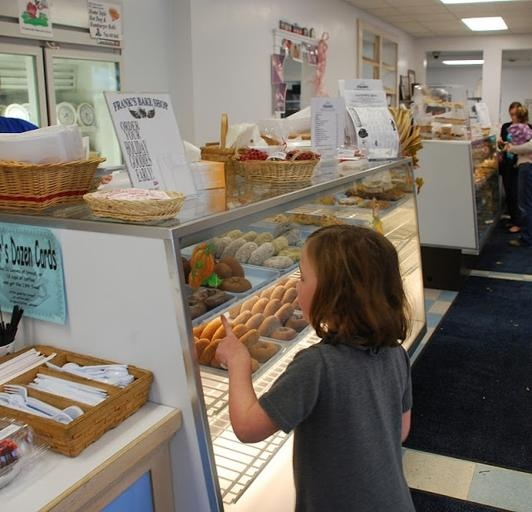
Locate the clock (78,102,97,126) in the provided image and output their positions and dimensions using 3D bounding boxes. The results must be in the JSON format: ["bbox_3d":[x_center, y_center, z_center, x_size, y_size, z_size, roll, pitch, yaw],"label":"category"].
[{"bbox_3d":[-1.691,-1.324,4.030,0.051,0.182,0.220,3,1,36],"label":"clock"}]

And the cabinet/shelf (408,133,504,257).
[{"bbox_3d":[2.053,-0.659,4.654,0.691,0.998,1.956,3,12,26],"label":"cabinet/shelf"}]

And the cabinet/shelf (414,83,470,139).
[{"bbox_3d":[2.196,-1.815,5.402,0.645,0.658,1.171,3,18,16],"label":"cabinet/shelf"}]

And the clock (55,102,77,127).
[{"bbox_3d":[-1.811,-1.285,3.867,0.131,0.202,0.217,-4,18,-2],"label":"clock"}]

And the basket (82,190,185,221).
[{"bbox_3d":[-0.300,-0.125,1.035,0.240,0.058,0.162,8,19,30],"label":"basket"}]
